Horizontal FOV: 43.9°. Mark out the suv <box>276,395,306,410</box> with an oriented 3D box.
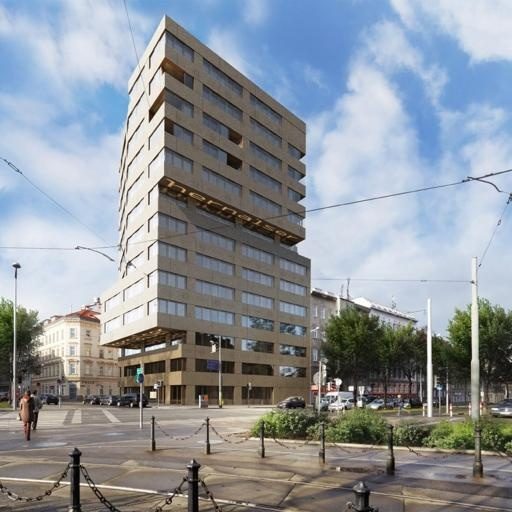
[{"bbox_3d":[3.217,12.809,55.641,1.813,1.022,4.438,-4,-16,10],"label":"suv"}]
